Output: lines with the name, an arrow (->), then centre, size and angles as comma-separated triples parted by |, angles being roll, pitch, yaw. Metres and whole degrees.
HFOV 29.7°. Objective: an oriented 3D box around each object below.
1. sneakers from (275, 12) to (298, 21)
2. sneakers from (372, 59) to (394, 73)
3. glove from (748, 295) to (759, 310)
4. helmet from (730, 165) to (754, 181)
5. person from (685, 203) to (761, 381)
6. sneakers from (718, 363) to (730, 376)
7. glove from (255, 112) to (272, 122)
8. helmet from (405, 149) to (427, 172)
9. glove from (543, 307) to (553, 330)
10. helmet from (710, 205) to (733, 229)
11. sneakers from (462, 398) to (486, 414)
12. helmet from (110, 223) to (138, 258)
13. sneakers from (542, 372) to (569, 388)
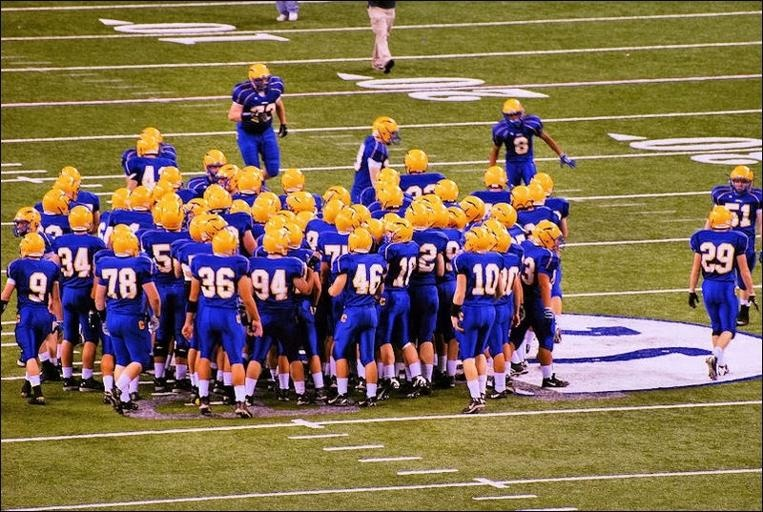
sneakers -> -1.941, -4.885, 29.484 | 0.458, 0.160, 0.150 | 0, 8, -5
sneakers -> 0.046, -3.517, 26.700 | 0.247, 0.146, 0.529 | -7, -17, 22
glove -> 4.962, 0.632, 19.224 | 0.109, 0.210, 0.134 | -11, 16, 7
helmet -> 4.713, -1.058, 18.850 | 0.243, 0.188, 0.292 | 0, 4, 18
person -> 4.273, 0.430, 18.060 | 0.792, 2.111, 1.302 | -1, 4, 12
sneakers -> 4.265, 1.405, 17.887 | 0.104, 0.150, 0.333 | 0, 4, 22
glove -> -1.738, -2.029, 21.023 | 0.179, 0.076, 0.222 | 3, -1, -5
helmet -> 0.457, -1.233, 18.891 | 0.297, 0.263, 0.352 | -1, 8, -2
glove -> 1.988, 0.758, 17.480 | 0.090, 0.216, 0.181 | -10, -16, 37
helmet -> 4.199, -0.482, 17.889 | 0.263, 0.230, 0.309 | 1, 19, 23
sneakers -> 1.112, 1.757, 16.802 | 0.126, 0.141, 0.324 | 5, -11, -37
helmet -> -2.954, -0.176, 16.756 | 0.317, 0.352, 0.305 | 1, -28, -1
sneakers -> 2.104, 1.527, 17.568 | 0.390, 0.146, 0.135 | 0, 4, 1
